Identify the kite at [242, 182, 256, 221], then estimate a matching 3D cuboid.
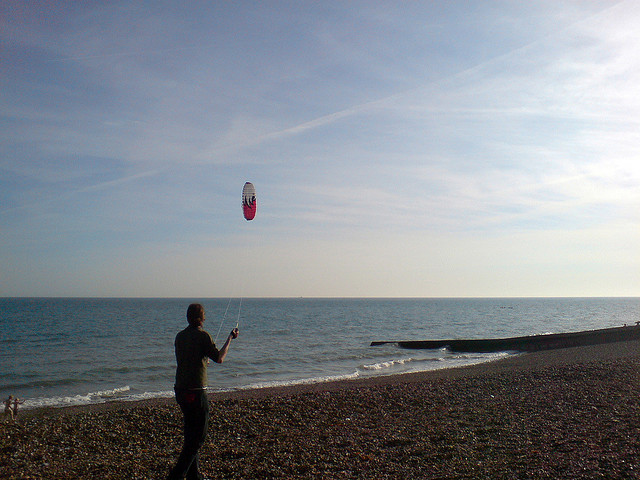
[{"bbox_3d":[-1.895,-1.060,14.325,0.285,1.045,0.554,-2,-7,-10],"label":"kite"}]
